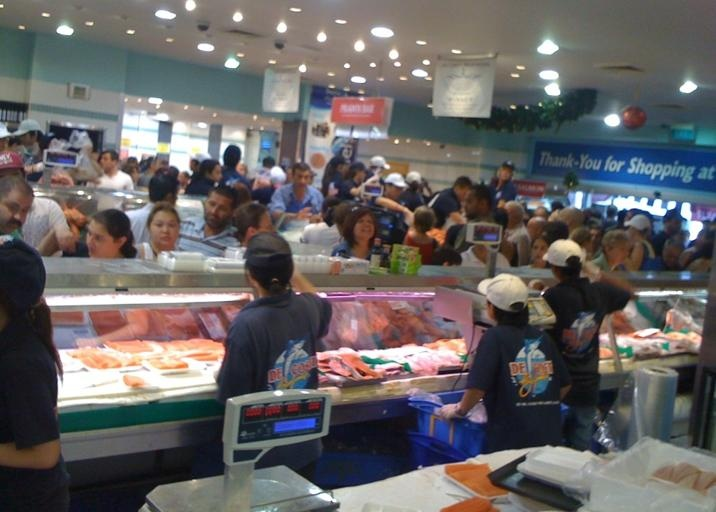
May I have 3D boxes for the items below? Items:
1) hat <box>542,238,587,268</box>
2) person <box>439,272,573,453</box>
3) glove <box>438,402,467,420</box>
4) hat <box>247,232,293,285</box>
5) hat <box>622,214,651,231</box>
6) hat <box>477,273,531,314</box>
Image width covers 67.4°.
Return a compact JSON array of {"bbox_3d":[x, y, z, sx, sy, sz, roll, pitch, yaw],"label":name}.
[{"bbox_3d":[1.413,-0.009,3.758,0.184,0.150,0.262,-5,18,-1],"label":"hat"},{"bbox_3d":[0.857,0.632,3.135,0.705,1.010,0.360,4,10,9],"label":"person"},{"bbox_3d":[0.569,0.916,3.199,0.148,0.048,0.108,1,5,-17],"label":"glove"},{"bbox_3d":[-0.462,-0.006,2.742,0.195,0.203,0.266,-8,27,-30],"label":"hat"},{"bbox_3d":[4.263,-0.503,8.377,0.430,0.197,0.612,6,2,-3],"label":"hat"},{"bbox_3d":[0.850,0.210,3.246,0.195,0.118,0.283,-4,23,-10],"label":"hat"}]
